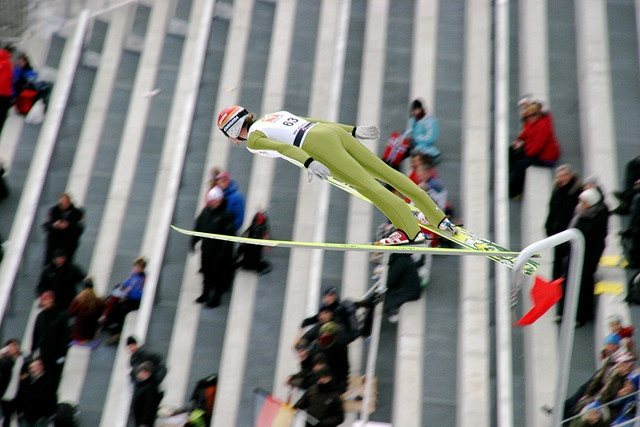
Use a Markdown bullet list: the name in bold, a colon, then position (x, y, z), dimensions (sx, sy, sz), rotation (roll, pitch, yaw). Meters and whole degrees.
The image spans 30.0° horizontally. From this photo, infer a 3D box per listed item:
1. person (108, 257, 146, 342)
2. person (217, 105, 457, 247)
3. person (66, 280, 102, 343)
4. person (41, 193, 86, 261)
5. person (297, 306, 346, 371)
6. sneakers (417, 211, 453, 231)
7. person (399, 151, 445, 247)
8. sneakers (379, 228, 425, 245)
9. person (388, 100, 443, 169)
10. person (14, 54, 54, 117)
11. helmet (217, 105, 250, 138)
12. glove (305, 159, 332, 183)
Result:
- **person**: position (-2.818, 1.267, 17.323), dimensions (0.430, 1.271, 0.582), rotation (14, 33, -9)
- **person**: position (0.060, -0.797, 16.565), dimensions (2.903, 0.730, 0.904), rotation (27, -11, -6)
- **person**: position (-3.377, 1.461, 17.117), dimensions (0.454, 0.956, 0.569), rotation (19, 32, -1)
- **person**: position (-3.735, 0.254, 17.432), dimensions (0.569, 1.011, 0.655), rotation (7, 33, -18)
- **person**: position (0.045, 1.725, 16.226), dimensions (0.421, 0.567, 1.015), rotation (24, 49, -28)
- **sneakers**: position (1.627, 0.136, 16.444), dimensions (0.636, 0.170, 0.239), rotation (13, 16, 3)
- **person**: position (1.426, -0.172, 16.686), dimensions (0.575, 0.353, 1.554), rotation (2, 29, -9)
- **sneakers**: position (1.112, 0.317, 16.263), dimensions (0.686, 0.211, 0.216), rotation (2, 2, 4)
- **person**: position (1.462, -1.140, 17.820), dimensions (0.752, 1.055, 0.584), rotation (14, 37, -9)
- **person**: position (-4.561, -2.015, 18.860), dimensions (0.669, 1.023, 0.422), rotation (4, 35, -22)
- **helmet**: position (-1.199, -1.290, 16.778), dimensions (0.433, 0.449, 0.364), rotation (30, 12, -9)
- **glove**: position (-0.019, -0.569, 16.009), dimensions (0.353, 0.258, 0.142), rotation (25, -1, -3)
